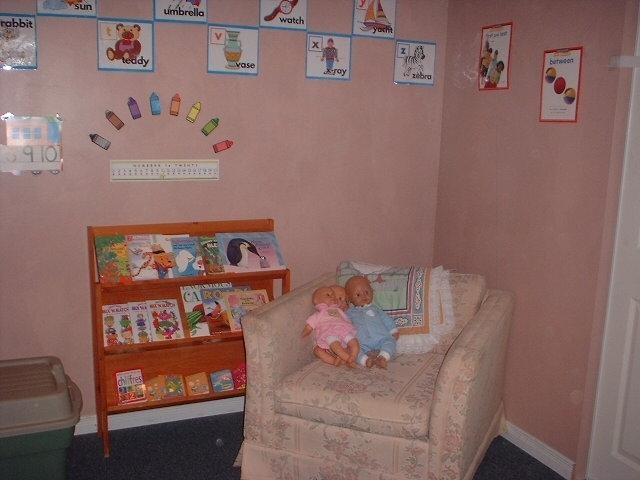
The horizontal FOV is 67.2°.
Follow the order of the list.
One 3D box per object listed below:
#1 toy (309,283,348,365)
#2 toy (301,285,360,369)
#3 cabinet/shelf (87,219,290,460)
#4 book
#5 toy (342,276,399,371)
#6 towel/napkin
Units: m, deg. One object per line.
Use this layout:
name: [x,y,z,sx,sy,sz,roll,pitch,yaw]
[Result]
toy: [0.064,0.472,2.630,0.236,0.121,0.365,-5,54,-14]
toy: [0.070,0.455,2.616,0.266,0.134,0.400,-4,56,-13]
cabinet/shelf: [-0.807,0.583,2.823,1.164,1.387,0.335,-5,10,-27]
book: [-0.794,0.445,2.818,0.965,1.005,0.314,-4,9,-25]
toy: [0.271,0.457,2.696,0.304,0.176,0.555,-12,52,3]
towel/napkin: [0.532,0.353,2.720,0.528,0.514,0.170,4,-17,8]
